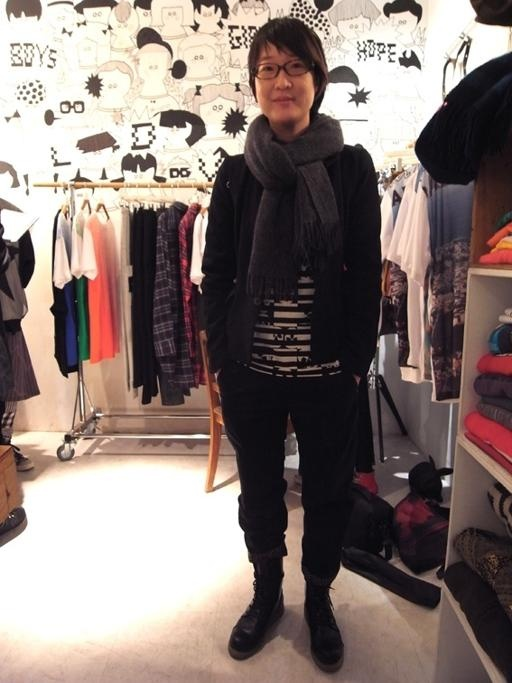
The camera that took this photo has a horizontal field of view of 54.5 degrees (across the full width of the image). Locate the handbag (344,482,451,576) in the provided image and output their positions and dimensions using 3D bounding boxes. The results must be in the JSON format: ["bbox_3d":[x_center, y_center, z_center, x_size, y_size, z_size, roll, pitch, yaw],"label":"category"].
[{"bbox_3d":[0.516,0.681,1.773,0.395,0.183,0.349,7,40,22],"label":"handbag"}]

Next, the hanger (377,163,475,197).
[{"bbox_3d":[0.690,-0.661,2.023,0.324,0.147,0.234,1,7,2],"label":"hanger"}]

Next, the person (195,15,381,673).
[{"bbox_3d":[0.077,0.059,1.224,0.318,1.567,0.371,-5,7,-31],"label":"person"}]

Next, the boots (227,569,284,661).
[{"bbox_3d":[0.015,0.747,1.379,0.091,0.219,0.276,-4,-8,21],"label":"boots"}]

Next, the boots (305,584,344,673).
[{"bbox_3d":[0.152,0.756,1.293,0.066,0.150,0.218,-1,-6,-2],"label":"boots"}]

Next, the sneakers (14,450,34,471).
[{"bbox_3d":[-1.253,0.640,2.658,0.161,0.084,0.057,2,0,41],"label":"sneakers"}]

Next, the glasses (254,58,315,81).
[{"bbox_3d":[0.059,-0.585,1.071,0.113,0.041,0.029,0,7,6],"label":"glasses"}]
